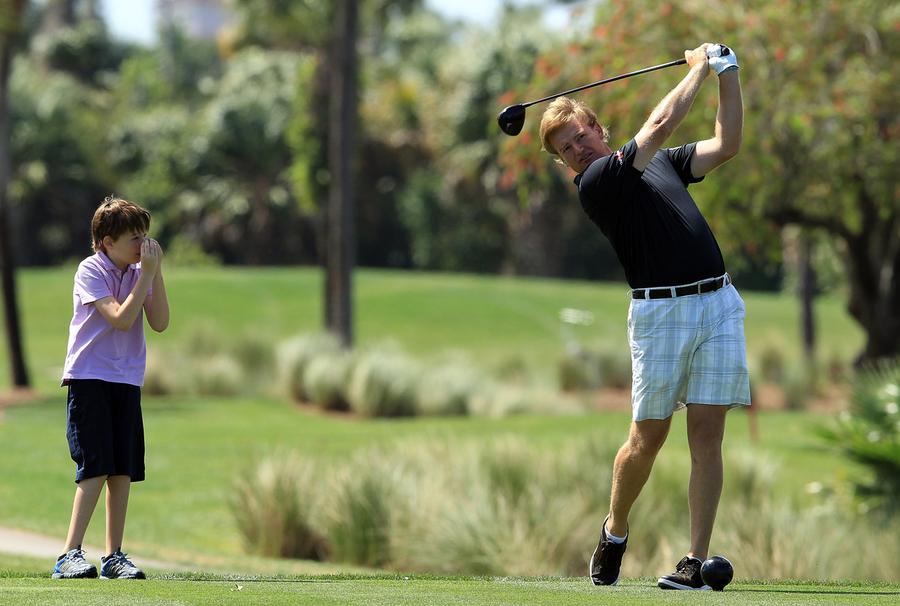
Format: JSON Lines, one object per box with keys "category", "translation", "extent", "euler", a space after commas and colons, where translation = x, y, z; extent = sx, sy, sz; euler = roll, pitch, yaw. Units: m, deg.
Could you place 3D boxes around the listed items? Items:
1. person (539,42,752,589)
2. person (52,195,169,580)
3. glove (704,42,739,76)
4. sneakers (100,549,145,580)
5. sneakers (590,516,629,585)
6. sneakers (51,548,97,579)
{"category": "person", "translation": [1.591, 0.101, 11.108], "extent": [1.142, 3.951, 0.434], "euler": [0, -3, 10]}
{"category": "person", "translation": [-2.504, 0.624, 11.270], "extent": [0.782, 2.814, 0.436], "euler": [1, -3, -16]}
{"category": "glove", "translation": [2.013, -1.778, 11.267], "extent": [0.231, 0.238, 0.182], "euler": [-5, 5, -5]}
{"category": "sneakers", "translation": [-2.433, 1.952, 11.294], "extent": [0.356, 0.170, 0.159], "euler": [0, -4, 26]}
{"category": "sneakers", "translation": [1.144, 1.886, 11.345], "extent": [0.183, 0.568, 0.221], "euler": [13, 4, -4]}
{"category": "sneakers", "translation": [-2.766, 1.930, 11.245], "extent": [0.363, 0.182, 0.158], "euler": [-5, -7, 37]}
